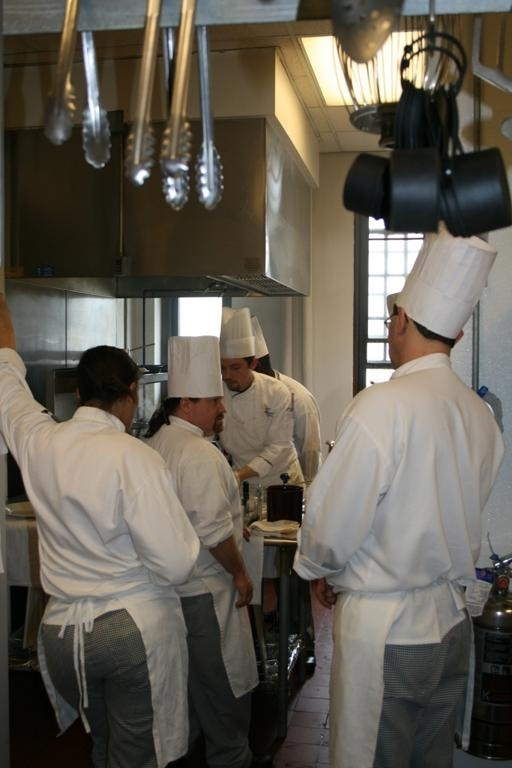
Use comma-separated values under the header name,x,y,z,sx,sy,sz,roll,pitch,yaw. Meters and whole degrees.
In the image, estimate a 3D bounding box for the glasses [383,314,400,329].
name,x,y,z,sx,sy,sz,roll,pitch,yaw
glasses,0.279,-0.129,1.615,0.038,0.013,0.040,6,-1,-4

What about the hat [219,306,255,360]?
name,x,y,z,sx,sy,sz,roll,pitch,yaw
hat,-0.067,-0.230,3.720,0.152,0.237,0.221,-6,1,41

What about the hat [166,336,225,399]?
name,x,y,z,sx,sy,sz,roll,pitch,yaw
hat,-0.184,-0.028,2.477,0.168,0.212,0.188,-7,-19,16

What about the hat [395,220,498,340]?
name,x,y,z,sx,sy,sz,roll,pitch,yaw
hat,0.349,-0.202,1.486,0.132,0.186,0.194,15,22,-8
